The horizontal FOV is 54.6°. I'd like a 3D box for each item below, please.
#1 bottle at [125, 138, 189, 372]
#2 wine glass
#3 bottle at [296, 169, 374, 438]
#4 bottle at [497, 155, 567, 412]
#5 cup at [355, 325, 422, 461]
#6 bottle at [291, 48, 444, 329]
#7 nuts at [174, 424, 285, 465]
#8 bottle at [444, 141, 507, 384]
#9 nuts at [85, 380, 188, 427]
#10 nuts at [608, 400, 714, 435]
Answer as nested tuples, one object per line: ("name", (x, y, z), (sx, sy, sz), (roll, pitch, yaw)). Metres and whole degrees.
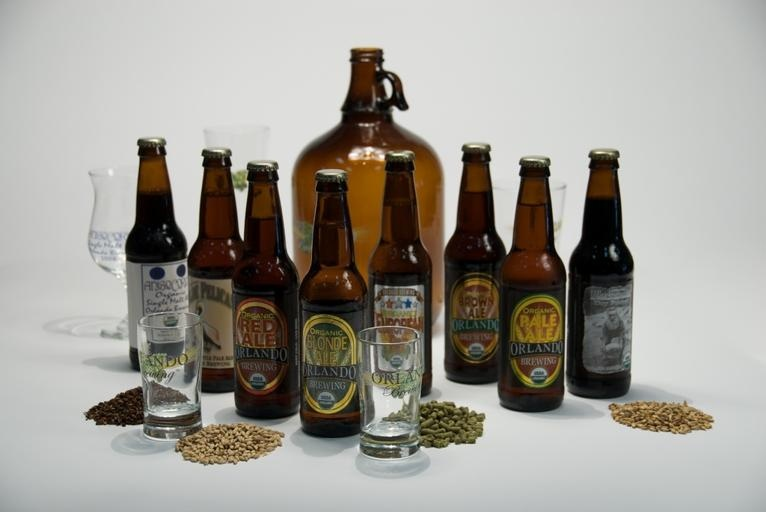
("bottle", (-0.754, -0.003, 2.477), (0.215, 0.717, 0.209), (1, 12, 0))
("wine glass", (-0.972, -0.009, 2.821), (0.255, 0.617, 0.256), (-7, 8, -41))
("bottle", (-0.124, 0.146, 2.075), (0.224, 0.654, 0.199), (0, 3, 0))
("bottle", (0.388, 0.139, 2.219), (0.284, 0.853, 0.266), (0, 3, 0))
("cup", (0.016, 0.369, 1.946), (0.163, 0.350, 0.112), (1, 6, -2))
("bottle", (-0.053, -0.319, 2.791), (0.449, 1.132, 0.415), (-8, 17, 2))
("nuts", (-0.423, 0.522, 2.054), (0.293, 0.081, 0.105), (0, 6, -12))
("bottle", (0.260, 0.021, 2.393), (0.274, 0.820, 0.256), (-1, 3, 0))
("nuts", (-0.809, 0.468, 2.302), (0.217, 0.083, 0.226), (0, 8, 1))
("nuts", (0.839, 0.485, 2.228), (0.310, 0.059, 0.165), (0, 5, -11))
